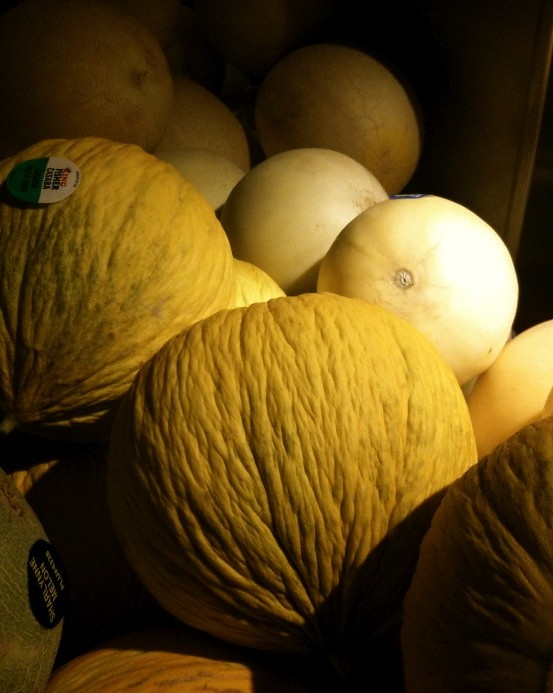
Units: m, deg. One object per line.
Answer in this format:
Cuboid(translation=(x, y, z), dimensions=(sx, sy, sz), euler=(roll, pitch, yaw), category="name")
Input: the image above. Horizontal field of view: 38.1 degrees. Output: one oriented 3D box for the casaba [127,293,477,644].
Cuboid(translation=(-0.004, 0.101, 0.729), dimensions=(0.260, 0.264, 0.262), euler=(-6, 59, -32), category="casaba")
